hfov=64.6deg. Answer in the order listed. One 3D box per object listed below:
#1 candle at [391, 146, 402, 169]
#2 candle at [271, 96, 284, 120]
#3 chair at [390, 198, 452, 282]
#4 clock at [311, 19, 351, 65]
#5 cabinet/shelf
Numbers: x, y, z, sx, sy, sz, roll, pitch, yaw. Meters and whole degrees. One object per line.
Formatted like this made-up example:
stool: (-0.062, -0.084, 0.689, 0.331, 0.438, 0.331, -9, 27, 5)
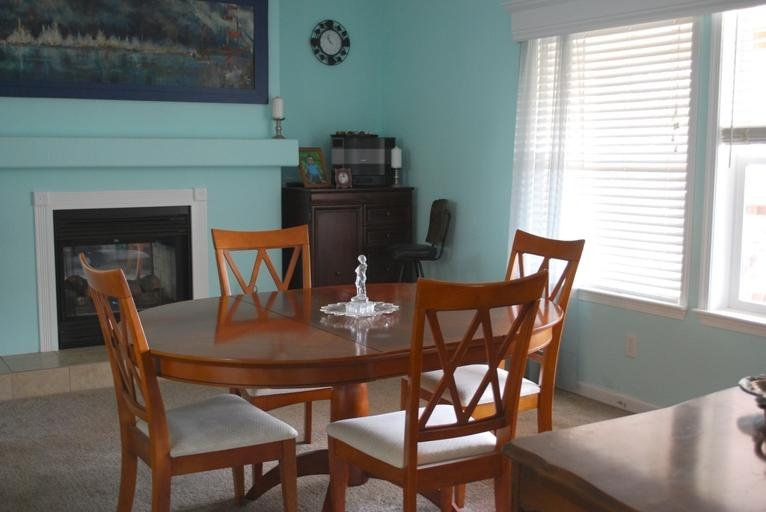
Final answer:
candle: (0.109, -0.924, 5.666, 0.095, 0.189, 0.059, -1, 10, 9)
candle: (-0.908, -1.270, 5.156, 0.095, 0.206, 0.163, -5, 10, -14)
chair: (0.325, -0.013, 5.423, 0.496, 0.985, 0.399, -2, 12, -14)
clock: (-0.526, -2.073, 5.808, 0.430, 0.444, 0.088, -3, 8, -25)
cabinet/shelf: (-0.130, -0.068, 5.707, 1.008, 1.027, 0.537, -2, -4, 13)
